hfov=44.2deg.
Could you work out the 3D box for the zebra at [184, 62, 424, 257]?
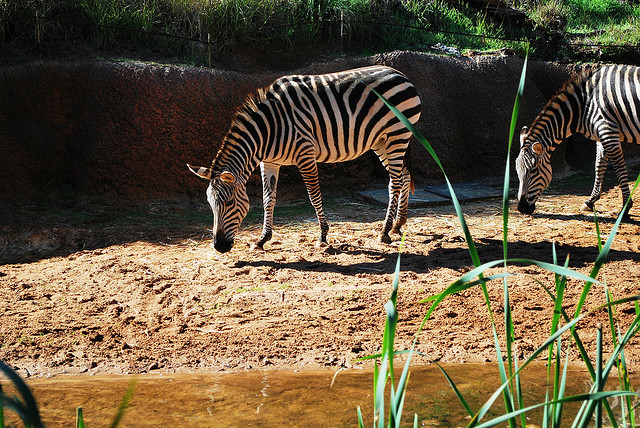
[{"bbox_3d":[-0.029,-0.700,10.471,3.517,2.291,0.996,-14,19,-29],"label":"zebra"}]
